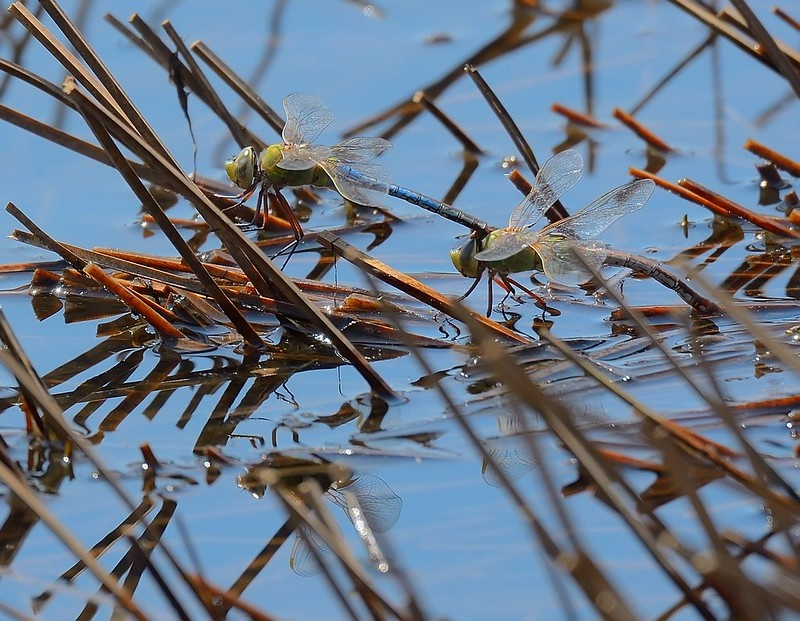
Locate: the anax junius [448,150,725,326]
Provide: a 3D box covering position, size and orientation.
[{"bbox_3d":[0.436,-0.164,2.443,0.620,0.439,0.221,1,-57,7],"label":"anax junius"}]
